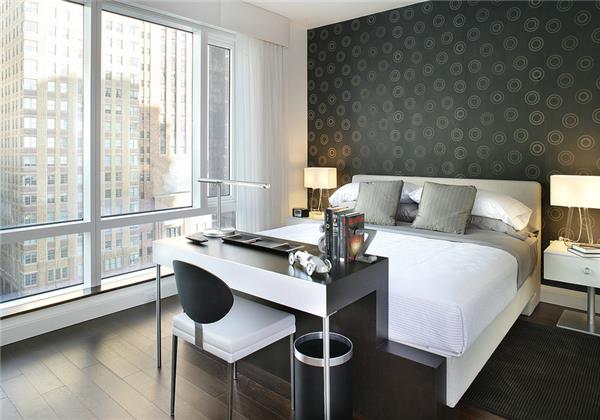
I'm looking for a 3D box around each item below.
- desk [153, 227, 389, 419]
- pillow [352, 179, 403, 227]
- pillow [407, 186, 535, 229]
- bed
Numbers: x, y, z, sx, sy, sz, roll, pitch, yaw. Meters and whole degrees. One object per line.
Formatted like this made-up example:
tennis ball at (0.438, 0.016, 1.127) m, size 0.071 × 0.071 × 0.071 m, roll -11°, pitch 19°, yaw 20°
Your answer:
desk at (-0.178, 0.806, 2.900) m, size 1.203 × 0.742 × 0.385 m, roll 4°, pitch 7°, yaw 40°
pillow at (0.867, -0.088, 4.568) m, size 0.554 × 0.568 × 0.171 m, roll 8°, pitch -9°, yaw 38°
pillow at (1.770, -0.019, 4.227) m, size 0.848 × 0.319 × 0.209 m, roll 13°, pitch 1°, yaw 31°
bed at (1.276, 0.569, 3.714) m, size 1.922 × 1.125 × 1.971 m, roll 1°, pitch 1°, yaw 39°
